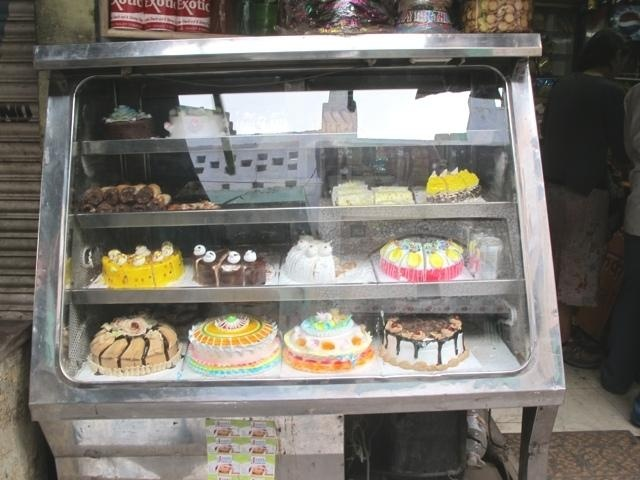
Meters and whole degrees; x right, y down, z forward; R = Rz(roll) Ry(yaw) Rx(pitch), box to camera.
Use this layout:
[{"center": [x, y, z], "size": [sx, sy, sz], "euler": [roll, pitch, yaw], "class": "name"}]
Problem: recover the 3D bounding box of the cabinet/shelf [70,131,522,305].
[{"center": [-0.072, -0.233, 2.768], "size": [1.990, 0.431, 0.257], "euler": [-2, -9, -7], "class": "cabinet/shelf"}]
